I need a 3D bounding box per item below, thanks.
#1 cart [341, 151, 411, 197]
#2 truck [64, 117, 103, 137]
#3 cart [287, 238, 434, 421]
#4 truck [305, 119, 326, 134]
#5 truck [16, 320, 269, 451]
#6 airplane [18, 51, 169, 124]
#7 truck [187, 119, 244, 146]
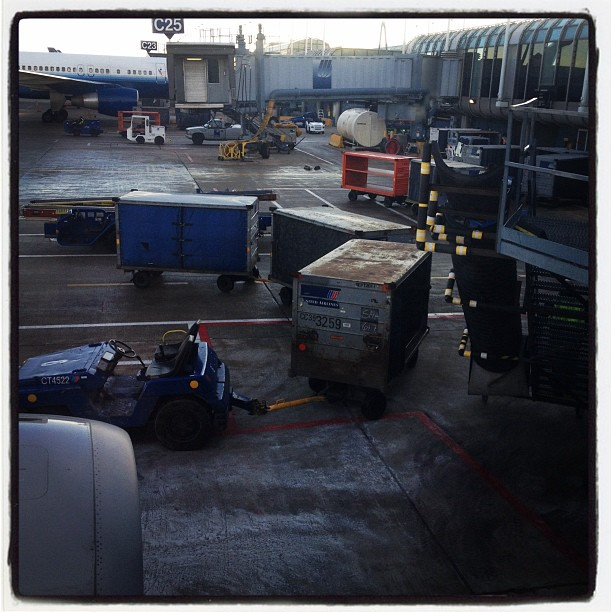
[{"bbox_3d":[4.386,-8.198,34.430,1.869,1.921,4.383,-12,24,-32],"label":"cart"},{"bbox_3d":[-26.769,-20.777,65.323,4.664,1.985,2.649,3,19,-2],"label":"truck"},{"bbox_3d":[1.673,0.094,13.513,2.792,3.152,4.650,9,22,24],"label":"cart"},{"bbox_3d":[1.152,-27.127,84.862,3.007,1.793,4.370,-2,25,-6],"label":"truck"},{"bbox_3d":[-3.369,1.532,11.445,4.878,1.803,2.311,-3,15,-6],"label":"truck"},{"bbox_3d":[-25.871,-27.430,67.617,16.023,9.042,10.003,-4,1,-26],"label":"airplane"},{"bbox_3d":[-10.557,-19.374,64.375,5.676,2.178,3.689,0,21,-5],"label":"truck"}]
